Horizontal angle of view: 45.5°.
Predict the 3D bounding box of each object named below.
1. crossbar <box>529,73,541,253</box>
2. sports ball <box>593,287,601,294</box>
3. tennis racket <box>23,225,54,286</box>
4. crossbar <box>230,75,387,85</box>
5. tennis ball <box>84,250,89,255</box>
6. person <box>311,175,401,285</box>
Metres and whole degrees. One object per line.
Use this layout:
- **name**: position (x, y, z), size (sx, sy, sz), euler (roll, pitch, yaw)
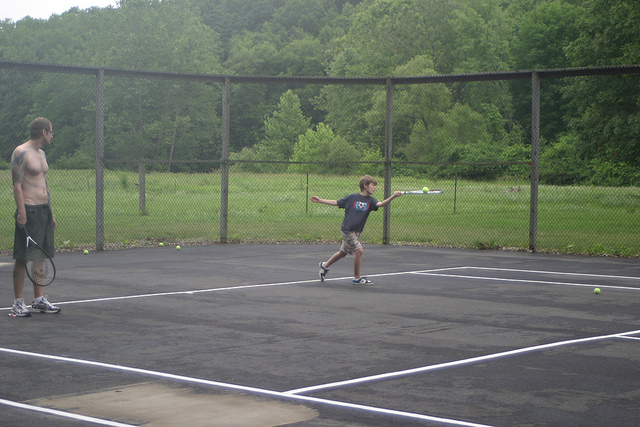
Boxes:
- **crossbar**: position (5.111, -1.195, 18.124), size (0.312, 4.247, 0.839), euler (3, 7, 15)
- **sports ball**: position (4.655, 1.315, 12.849), size (0.090, 0.082, 0.092), euler (-22, 0, 0)
- **tennis racket**: position (-4.027, 0.598, 10.947), size (0.324, 0.838, 0.567), euler (3, 7, 14)
- **crossbar**: position (-0.267, -3.405, 19.458), size (3.935, 0.193, 0.704), euler (1, 6, -1)
- **tennis ball**: position (-5.291, 0.889, 17.222), size (0.098, 0.070, 0.074), euler (0, 26, 35)
- **person**: position (0.647, 0.269, 13.970), size (1.038, 1.906, 1.310), euler (3, 7, 14)
